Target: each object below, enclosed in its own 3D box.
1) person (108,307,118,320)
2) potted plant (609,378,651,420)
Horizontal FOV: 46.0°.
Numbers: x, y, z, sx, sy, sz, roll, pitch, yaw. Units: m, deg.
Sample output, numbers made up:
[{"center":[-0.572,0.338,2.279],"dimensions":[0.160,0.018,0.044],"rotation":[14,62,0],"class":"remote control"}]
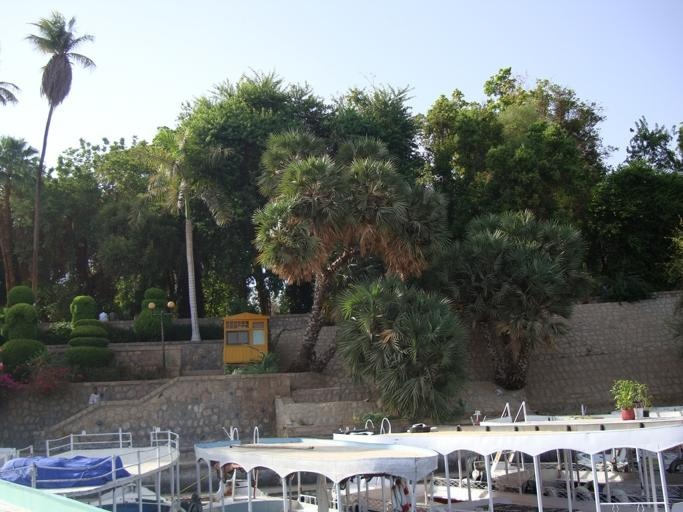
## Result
[{"center":[-14.138,3.583,50.014],"dimensions":[0.614,0.587,0.969],"rotation":[-3,-8,-2],"class":"person"},{"center":[9.676,4.720,27.125],"dimensions":[0.916,1.474,1.282],"rotation":[2,21,25],"class":"potted plant"}]
